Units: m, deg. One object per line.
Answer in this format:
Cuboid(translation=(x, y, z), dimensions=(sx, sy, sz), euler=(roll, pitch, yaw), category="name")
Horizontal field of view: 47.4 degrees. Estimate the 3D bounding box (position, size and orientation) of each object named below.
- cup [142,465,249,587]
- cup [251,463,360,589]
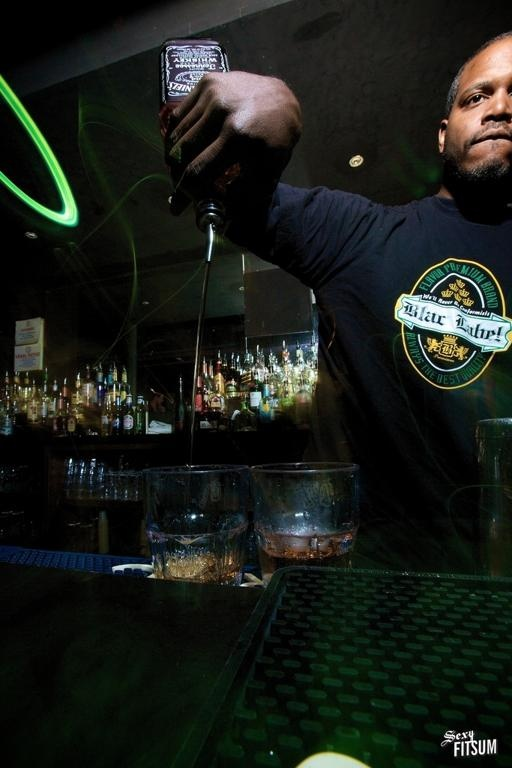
Cuboid(translation=(-0.041, 0.146, 0.614), dimensions=(0.110, 0.128, 0.114), euler=(-1, -11, 0), category="cup")
Cuboid(translation=(0.041, 0.137, 0.601), dimensions=(0.109, 0.127, 0.111), euler=(-2, -8, 0), category="cup")
